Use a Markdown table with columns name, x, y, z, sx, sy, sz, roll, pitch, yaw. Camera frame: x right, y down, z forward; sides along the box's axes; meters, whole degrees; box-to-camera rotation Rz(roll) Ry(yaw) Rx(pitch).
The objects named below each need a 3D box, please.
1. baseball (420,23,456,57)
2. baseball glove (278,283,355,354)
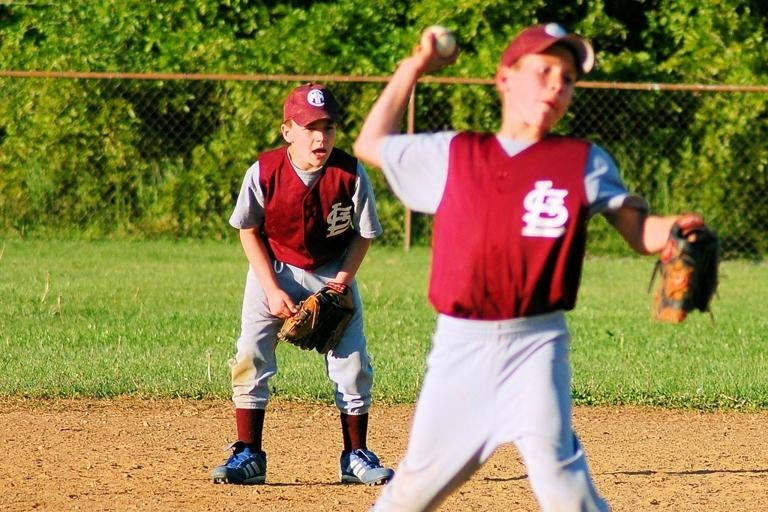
| name | x | y | z | sx | sy | sz | roll | pitch | yaw |
| --- | --- | --- | --- | --- | --- | --- | --- | --- | --- |
| baseball | 0.418 | -1.559 | 9.110 | 0.211 | 0.252 | 0.208 | -28 | 4 | -3 |
| baseball glove | -0.526 | 0.541 | 10.127 | 0.442 | 0.632 | 0.272 | 37 | 12 | 0 |
